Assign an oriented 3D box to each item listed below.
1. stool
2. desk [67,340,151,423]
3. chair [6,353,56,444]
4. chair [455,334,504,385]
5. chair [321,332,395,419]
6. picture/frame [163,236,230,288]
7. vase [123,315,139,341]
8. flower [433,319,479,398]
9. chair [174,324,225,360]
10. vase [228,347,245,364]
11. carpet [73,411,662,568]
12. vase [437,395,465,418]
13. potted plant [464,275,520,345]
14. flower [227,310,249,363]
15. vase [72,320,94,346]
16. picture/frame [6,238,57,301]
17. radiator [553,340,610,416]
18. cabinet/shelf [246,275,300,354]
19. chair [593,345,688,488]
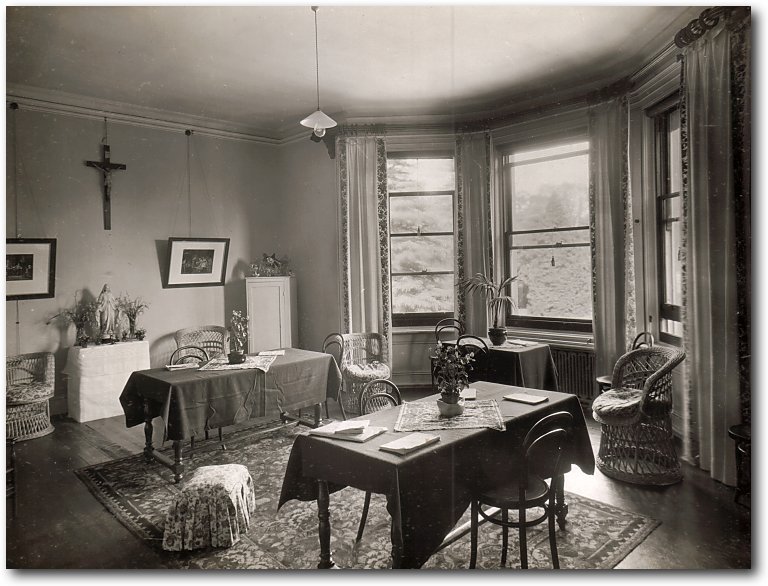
[{"bbox_3d":[-1.383,1.647,4.324,0.587,0.315,0.626,11,-19,-13],"label":"stool"},{"bbox_3d":[-3.127,1.023,6.325,0.856,0.865,0.285,-3,3,-45],"label":"desk"},{"bbox_3d":[-3.816,1.148,6.153,0.462,0.802,0.827,-8,14,-28],"label":"chair"},{"bbox_3d":[1.052,0.574,6.302,0.464,0.579,0.821,1,35,2],"label":"chair"},{"bbox_3d":[-0.235,1.004,6.979,0.639,0.863,0.647,0,12,16],"label":"chair"},{"bbox_3d":[-2.592,-0.423,7.682,0.047,0.592,0.673,10,7,39],"label":"picture/frame"},{"bbox_3d":[-3.148,0.424,7.011,0.146,0.285,0.338,-7,13,-22],"label":"vase"},{"bbox_3d":[0.496,0.551,4.111,0.336,0.539,0.266,-1,-6,27],"label":"flower"},{"bbox_3d":[-2.455,0.651,7.632,0.479,0.633,0.468,1,-4,-20],"label":"chair"},{"bbox_3d":[-1.452,0.632,5.604,0.123,0.101,0.129,0,-3,-2],"label":"vase"},{"bbox_3d":[-0.092,1.527,4.001,2.280,0.015,3.527,-4,-36,13],"label":"carpet"},{"bbox_3d":[0.478,0.833,4.106,0.134,0.128,0.175,0,-10,-6],"label":"vase"},{"bbox_3d":[1.424,0.237,7.030,0.839,0.918,0.735,-1,-5,6],"label":"potted plant"},{"bbox_3d":[-1.673,0.601,6.546,0.224,0.680,0.228,-1,9,-14],"label":"flower"},{"bbox_3d":[-3.559,0.494,6.712,0.253,0.313,0.267,-1,-7,1],"label":"vase"},{"bbox_3d":[-4.045,-0.275,6.451,0.050,0.720,0.682,2,1,35],"label":"picture/frame"},{"bbox_3d":[2.144,0.920,6.086,0.061,0.896,0.830,0,-1,-41],"label":"radiator"},{"bbox_3d":[-1.605,0.293,7.915,0.677,1.004,0.296,-7,14,-23],"label":"cabinet/shelf"},{"bbox_3d":[2.344,1.053,5.189,0.731,1.142,0.807,-2,3,-3],"label":"chair"}]
